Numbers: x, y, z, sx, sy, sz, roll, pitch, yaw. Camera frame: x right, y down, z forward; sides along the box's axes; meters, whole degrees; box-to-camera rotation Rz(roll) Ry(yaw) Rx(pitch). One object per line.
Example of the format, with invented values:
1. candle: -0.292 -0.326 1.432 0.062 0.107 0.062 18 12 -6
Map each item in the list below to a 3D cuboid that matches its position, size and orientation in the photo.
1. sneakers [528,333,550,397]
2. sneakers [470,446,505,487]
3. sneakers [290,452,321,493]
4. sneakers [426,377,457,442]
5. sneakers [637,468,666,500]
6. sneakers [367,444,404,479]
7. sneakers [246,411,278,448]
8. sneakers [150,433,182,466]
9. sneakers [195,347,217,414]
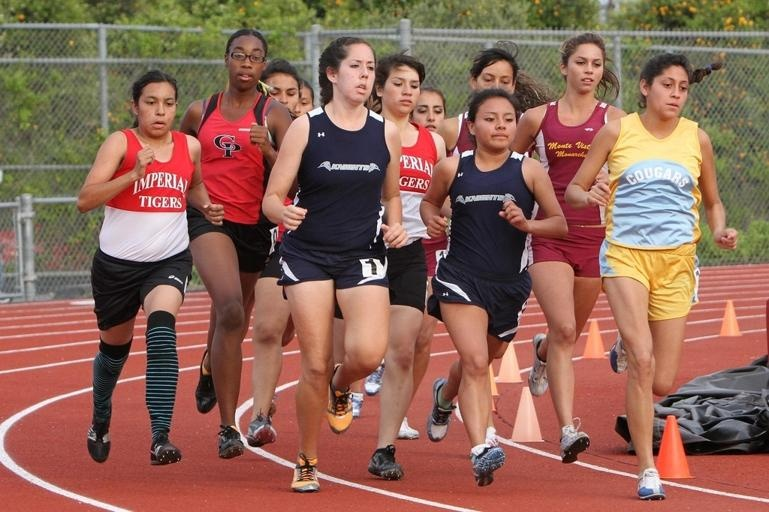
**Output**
1. sneakers: 1.434 1.051 7.215 0.214 0.636 0.268 -3 12 1
2. sneakers: 0.675 1.391 5.083 0.170 0.305 0.194 -1 5 -8
3. sneakers: -0.532 1.479 5.267 0.196 0.290 0.180 -1 5 -5
4. sneakers: 0.482 1.331 6.496 0.195 0.573 0.258 0 22 -14
5. sneakers: 1.731 1.491 5.001 0.111 0.125 0.279 -1 -6 0
6. sneakers: 0.022 1.473 5.519 0.165 0.233 0.356 18 -14 -25
7. sneakers: -0.948 1.375 6.071 0.159 0.172 0.367 5 -20 -13
8. sneakers: -1.472 1.313 5.212 0.166 0.212 0.222 -2 5 -24
9. sneakers: -1.612 1.184 7.101 0.208 0.229 0.584 12 37 -18
